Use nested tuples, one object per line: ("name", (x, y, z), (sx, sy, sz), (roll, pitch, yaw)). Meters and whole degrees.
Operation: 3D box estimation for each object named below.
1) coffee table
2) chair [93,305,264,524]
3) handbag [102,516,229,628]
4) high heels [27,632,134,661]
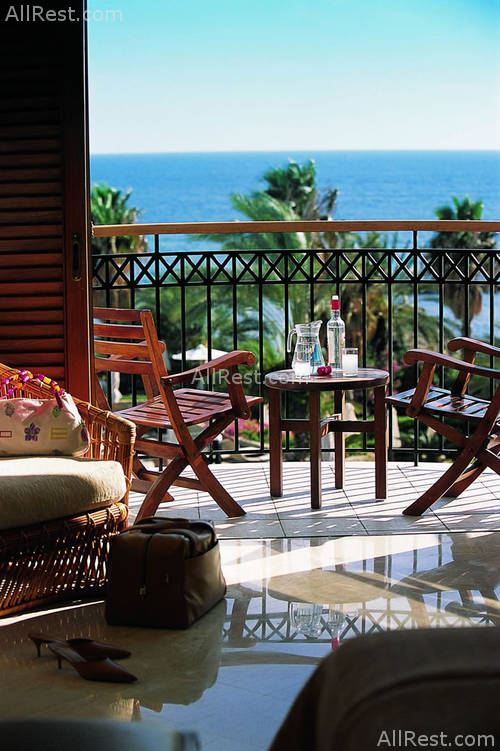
("coffee table", (0.350, 0.279, 3.175), (0.563, 0.599, 0.484), (0, 6, 11))
("chair", (-0.365, 0.158, 3.092), (0.657, 0.903, 0.694), (-6, 9, -44))
("handbag", (-0.244, 0.590, 2.148), (0.293, 0.264, 0.395), (-1, -5, 16))
("high heels", (-0.445, 0.683, 1.797), (0.251, 0.061, 0.098), (-3, -7, 12))
